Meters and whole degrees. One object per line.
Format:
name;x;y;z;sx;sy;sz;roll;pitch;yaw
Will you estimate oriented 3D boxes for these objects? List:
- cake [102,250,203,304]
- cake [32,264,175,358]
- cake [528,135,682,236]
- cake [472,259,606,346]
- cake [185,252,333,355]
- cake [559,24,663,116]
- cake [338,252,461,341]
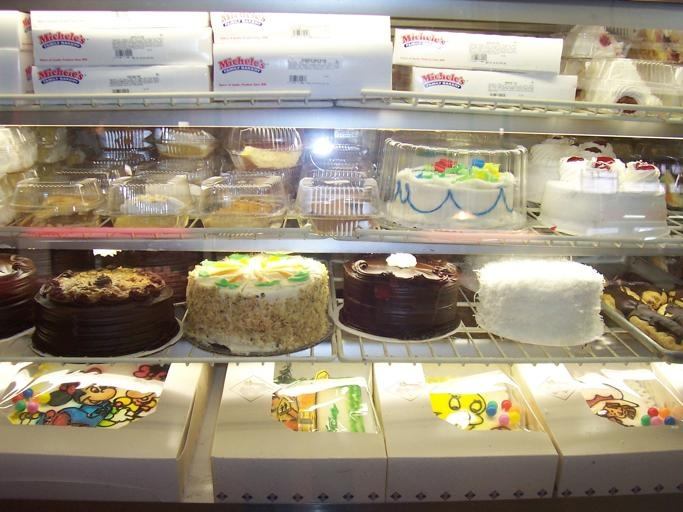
cake;-0.809;0.070;2.204;0.366;0.136;0.295;1;5;3
cake;-0.886;0.214;1.809;0.451;0.152;0.385;11;19;19
cake;0.978;-0.263;1.878;0.538;0.211;0.434;2;10;2
cake;0.748;0.178;1.835;0.477;0.211;0.386;1;8;9
cake;-0.334;0.175;1.887;0.580;0.255;0.428;-1;22;-1
cake;0.973;-0.700;1.781;0.270;0.280;0.332;-4;23;-6
cake;0.230;0.138;1.932;0.448;0.149;0.357;0;11;-1
